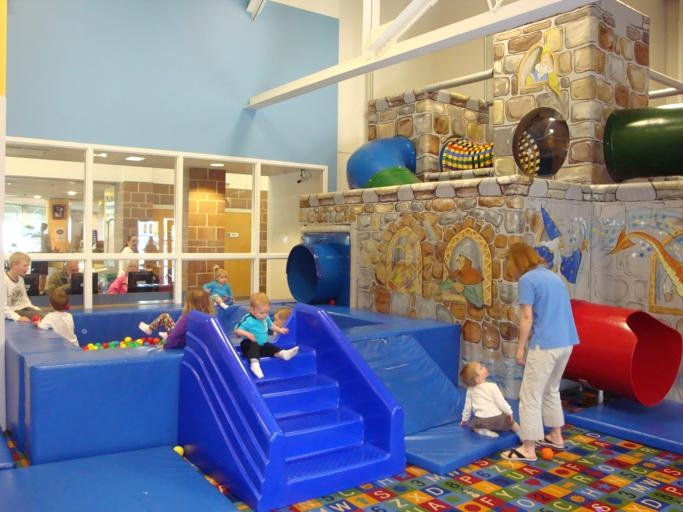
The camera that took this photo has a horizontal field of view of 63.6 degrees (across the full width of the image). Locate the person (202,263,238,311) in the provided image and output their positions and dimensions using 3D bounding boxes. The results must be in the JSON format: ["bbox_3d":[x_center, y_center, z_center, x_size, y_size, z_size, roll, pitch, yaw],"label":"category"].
[{"bbox_3d":[-1.831,0.461,7.938,0.588,0.810,0.528,-1,1,34],"label":"person"}]

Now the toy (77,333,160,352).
[{"bbox_3d":[-2.684,1.024,6.540,0.717,0.153,0.392,-4,-1,-14],"label":"toy"}]

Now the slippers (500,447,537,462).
[{"bbox_3d":[1.511,1.682,4.745,0.210,0.073,0.121,2,-1,29],"label":"slippers"}]

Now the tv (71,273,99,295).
[{"bbox_3d":[-3.398,0.374,7.333,0.330,0.336,0.257,0,4,-23],"label":"tv"}]

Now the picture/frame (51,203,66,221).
[{"bbox_3d":[-3.591,-0.570,7.008,0.115,0.230,0.219,1,1,40],"label":"picture/frame"}]

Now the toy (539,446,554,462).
[{"bbox_3d":[1.752,1.692,4.749,0.096,0.100,0.093,4,6,38],"label":"toy"}]

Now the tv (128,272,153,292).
[{"bbox_3d":[-2.776,0.347,7.639,0.307,0.305,0.245,0,4,-30],"label":"tv"}]

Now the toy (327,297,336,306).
[{"bbox_3d":[-0.145,0.664,8.153,0.112,0.095,0.050,4,10,4],"label":"toy"}]

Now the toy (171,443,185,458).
[{"bbox_3d":[-1.371,1.645,4.661,0.097,0.089,0.081,38,3,-37],"label":"toy"}]
